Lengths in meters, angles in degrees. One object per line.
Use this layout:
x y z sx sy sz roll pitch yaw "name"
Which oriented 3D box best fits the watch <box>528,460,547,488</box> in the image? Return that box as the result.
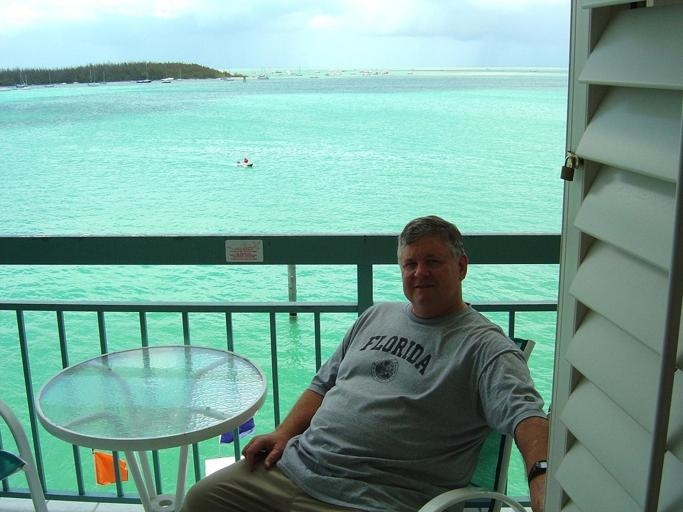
0.502 0.554 1.596 0.033 0.057 0.040 9 18 22 "watch"
